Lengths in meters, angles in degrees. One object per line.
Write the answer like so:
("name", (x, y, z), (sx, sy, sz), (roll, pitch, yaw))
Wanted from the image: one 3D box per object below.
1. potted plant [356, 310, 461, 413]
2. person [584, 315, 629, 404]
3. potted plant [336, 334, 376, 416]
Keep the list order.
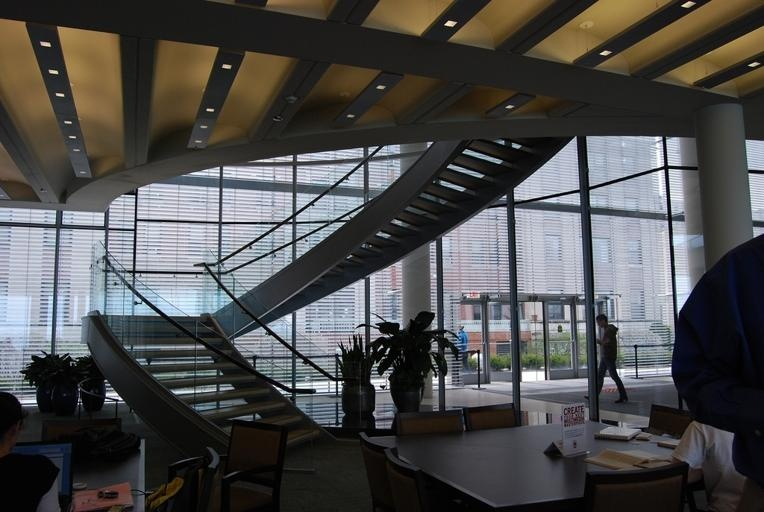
("potted plant", (0.458, 1.796, 9.578), (1.844, 1.279, 1.640), (0, -16, 3))
("person", (3.517, 1.586, 9.095), (0.152, 1.368, 0.507), (2, -9, -32))
("potted plant", (-0.396, 1.871, 8.977), (0.628, 1.266, 0.568), (0, -8, -16))
